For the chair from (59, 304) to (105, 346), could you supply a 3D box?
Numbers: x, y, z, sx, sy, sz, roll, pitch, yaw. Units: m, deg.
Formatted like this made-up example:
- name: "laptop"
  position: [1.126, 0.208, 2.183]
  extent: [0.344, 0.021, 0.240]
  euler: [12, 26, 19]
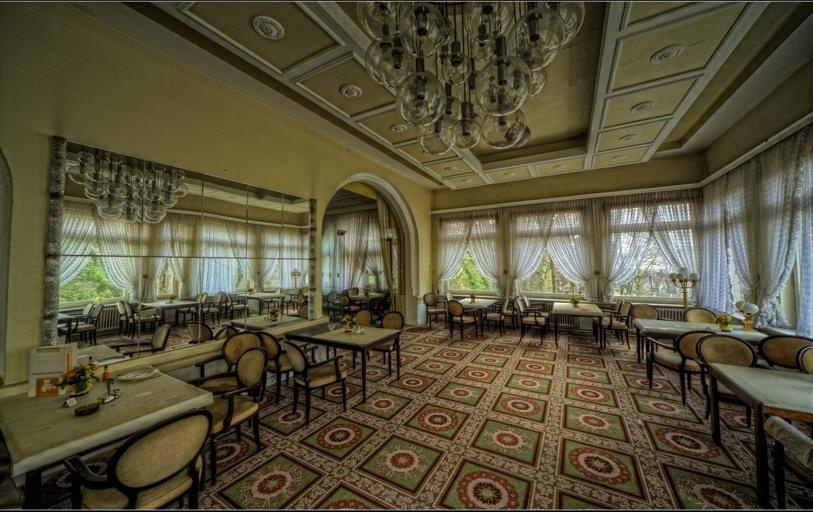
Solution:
- name: "chair"
  position: [-4.481, 0.926, 6.223]
  extent: [0.490, 0.534, 0.446]
  euler: [1, 0, -28]

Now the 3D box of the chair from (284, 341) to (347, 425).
- name: "chair"
  position: [-1.442, 1.849, 7.162]
  extent: [0.799, 1.138, 0.828]
  euler: [3, 9, 33]

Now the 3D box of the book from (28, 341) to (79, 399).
- name: "book"
  position: [-4.562, 1.459, 5.814]
  extent: [0.060, 0.631, 0.500]
  euler: [-21, -19, 36]

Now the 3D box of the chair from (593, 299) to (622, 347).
- name: "chair"
  position: [4.336, 1.397, 9.585]
  extent: [0.713, 0.916, 0.675]
  euler: [1, 7, 44]

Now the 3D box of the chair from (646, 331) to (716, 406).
- name: "chair"
  position: [4.310, 1.646, 7.232]
  extent: [0.692, 1.191, 0.985]
  euler: [0, 10, 9]

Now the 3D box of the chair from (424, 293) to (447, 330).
- name: "chair"
  position: [0.731, 1.350, 11.522]
  extent: [0.609, 0.772, 0.530]
  euler: [-1, 3, -9]

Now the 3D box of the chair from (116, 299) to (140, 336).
- name: "chair"
  position: [-3.974, 0.898, 6.494]
  extent: [0.261, 0.397, 0.270]
  euler: [2, -26, 29]

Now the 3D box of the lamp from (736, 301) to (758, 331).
- name: "lamp"
  position: [5.796, 0.969, 7.677]
  extent: [0.265, 0.562, 0.921]
  euler: [7, 12, 39]

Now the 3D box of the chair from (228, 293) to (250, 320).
- name: "chair"
  position: [-2.772, 0.810, 7.457]
  extent: [0.382, 0.486, 0.349]
  euler: [-1, 0, 26]

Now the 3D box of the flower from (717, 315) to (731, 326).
- name: "flower"
  position: [5.290, 1.048, 7.577]
  extent: [0.208, 0.076, 0.201]
  euler: [1, 8, 9]

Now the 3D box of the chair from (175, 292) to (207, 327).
- name: "chair"
  position: [-3.362, 0.798, 7.015]
  extent: [0.352, 0.485, 0.374]
  euler: [9, 1, 43]

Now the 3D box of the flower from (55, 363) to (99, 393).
- name: "flower"
  position: [-4.250, 1.530, 5.804]
  extent: [0.410, 0.258, 0.397]
  euler: [3, -1, -38]

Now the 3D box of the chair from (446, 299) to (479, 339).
- name: "chair"
  position: [1.275, 1.381, 10.395]
  extent: [0.606, 0.788, 0.628]
  euler: [4, 8, 44]

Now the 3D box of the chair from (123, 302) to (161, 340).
- name: "chair"
  position: [-3.832, 0.901, 6.519]
  extent: [0.454, 0.590, 0.468]
  euler: [4, 3, 40]

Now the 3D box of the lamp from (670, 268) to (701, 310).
- name: "lamp"
  position: [5.716, 0.768, 9.281]
  extent: [0.501, 0.994, 0.489]
  euler: [-2, 0, 39]

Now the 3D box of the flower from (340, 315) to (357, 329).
- name: "flower"
  position: [-1.041, 1.126, 7.788]
  extent: [0.244, 0.215, 0.240]
  euler: [-4, 0, 24]

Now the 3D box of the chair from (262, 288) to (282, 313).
- name: "chair"
  position: [-2.318, 0.775, 7.958]
  extent: [0.325, 0.444, 0.328]
  euler: [0, -3, -8]

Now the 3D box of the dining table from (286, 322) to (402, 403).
- name: "dining table"
  position: [-1.096, 1.687, 7.911]
  extent: [1.743, 0.775, 1.244]
  euler: [2, 6, 26]

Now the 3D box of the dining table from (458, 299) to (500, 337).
- name: "dining table"
  position: [1.732, 1.539, 10.792]
  extent: [0.861, 0.540, 1.111]
  euler: [-1, 1, 18]

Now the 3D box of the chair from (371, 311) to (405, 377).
- name: "chair"
  position: [-0.393, 1.595, 8.565]
  extent: [0.636, 1.016, 0.657]
  euler: [1, 5, 32]

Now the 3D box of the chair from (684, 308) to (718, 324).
- name: "chair"
  position: [5.463, 1.100, 8.409]
  extent: [0.363, 0.349, 0.416]
  euler: [9, 15, 25]

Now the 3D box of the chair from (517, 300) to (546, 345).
- name: "chair"
  position: [2.888, 1.416, 10.364]
  extent: [0.898, 1.135, 0.856]
  euler: [-1, 0, 22]

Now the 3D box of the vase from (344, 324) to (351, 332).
- name: "vase"
  position: [-1.012, 1.220, 7.725]
  extent: [0.114, 0.108, 0.114]
  euler: [1, 1, 28]

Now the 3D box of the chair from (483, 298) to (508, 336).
- name: "chair"
  position: [2.092, 1.410, 10.764]
  extent: [0.555, 0.813, 0.529]
  euler: [1, 2, 19]
